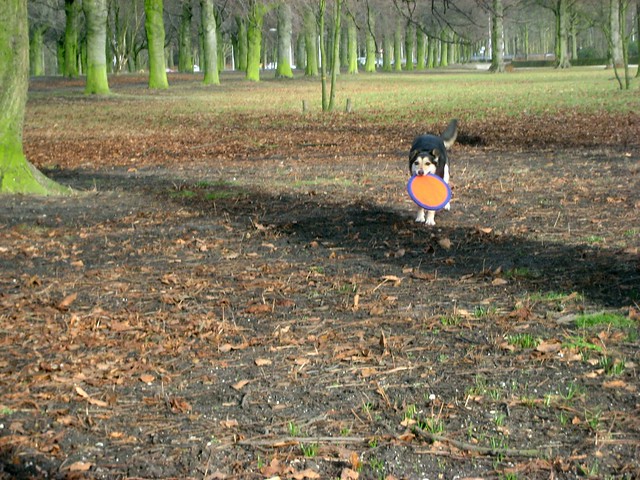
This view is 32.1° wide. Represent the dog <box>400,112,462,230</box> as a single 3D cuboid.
[{"bbox_3d":[2.902,-1.797,27.664,0.845,1.793,3.465,-5,11,19],"label":"dog"}]
